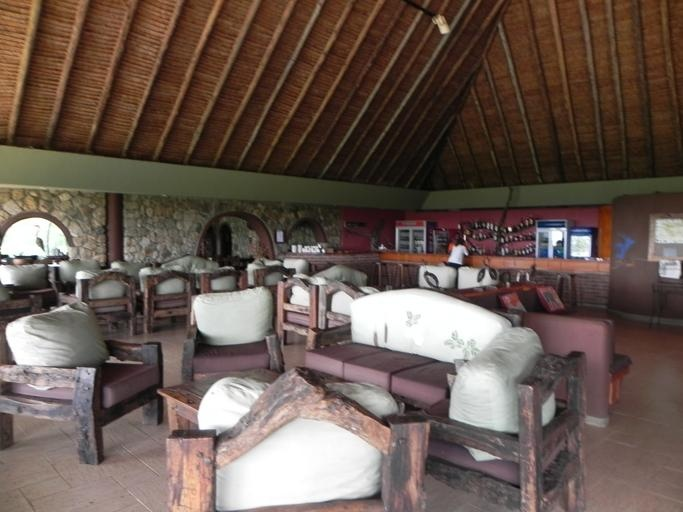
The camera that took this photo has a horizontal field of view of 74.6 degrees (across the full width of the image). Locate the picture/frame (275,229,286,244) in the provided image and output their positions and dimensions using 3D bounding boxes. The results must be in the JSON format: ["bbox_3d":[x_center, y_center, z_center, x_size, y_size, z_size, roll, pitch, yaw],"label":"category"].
[{"bbox_3d":[-1.543,-0.538,11.716,0.409,0.426,0.062,-1,2,-44],"label":"picture/frame"}]
